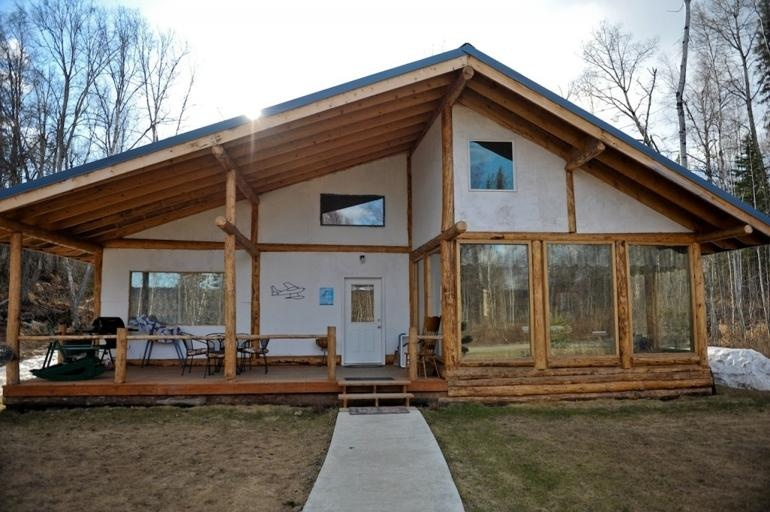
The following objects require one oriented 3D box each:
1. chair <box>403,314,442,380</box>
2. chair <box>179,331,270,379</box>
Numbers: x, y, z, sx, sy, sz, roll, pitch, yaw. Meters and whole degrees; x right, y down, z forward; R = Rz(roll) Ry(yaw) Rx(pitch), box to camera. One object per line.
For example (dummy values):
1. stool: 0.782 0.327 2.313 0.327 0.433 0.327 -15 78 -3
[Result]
1. chair: 1.052 2.620 17.055 1.369 1.947 1.228 3 -10 -17
2. chair: -4.593 2.828 17.744 2.455 1.181 2.761 1 -9 -11
